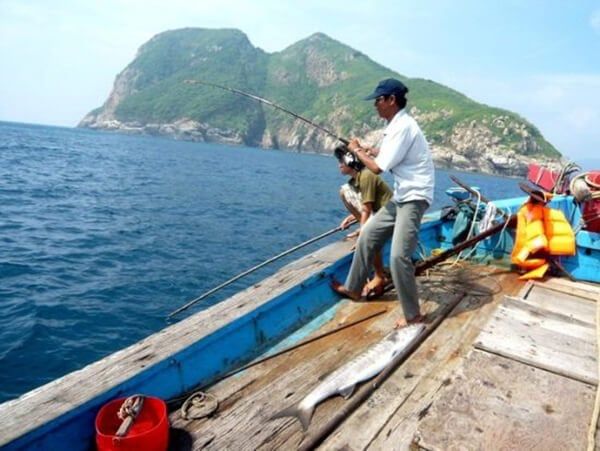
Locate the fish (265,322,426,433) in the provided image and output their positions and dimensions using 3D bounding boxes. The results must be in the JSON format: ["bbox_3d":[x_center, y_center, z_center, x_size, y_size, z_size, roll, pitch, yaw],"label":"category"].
[{"bbox_3d":[0.387,1.288,3.355,1.518,0.384,0.935,-5,11,-44],"label":"fish"}]
